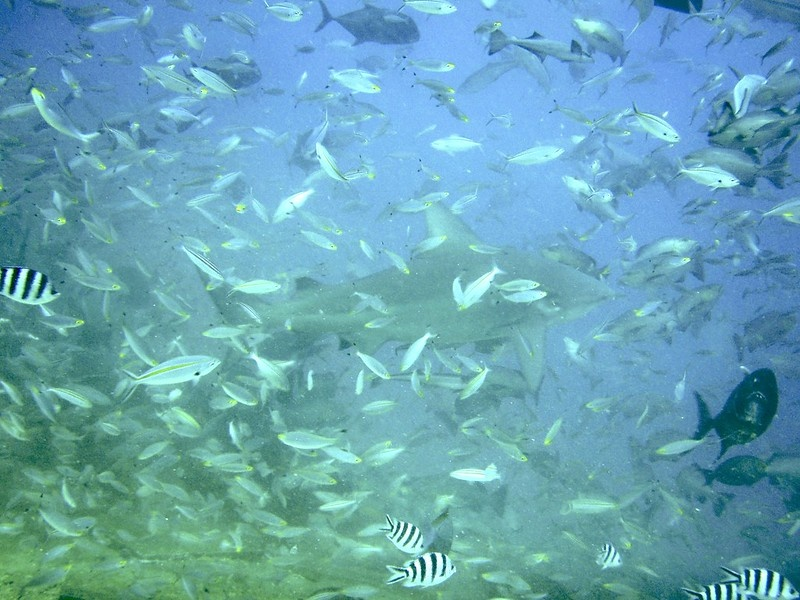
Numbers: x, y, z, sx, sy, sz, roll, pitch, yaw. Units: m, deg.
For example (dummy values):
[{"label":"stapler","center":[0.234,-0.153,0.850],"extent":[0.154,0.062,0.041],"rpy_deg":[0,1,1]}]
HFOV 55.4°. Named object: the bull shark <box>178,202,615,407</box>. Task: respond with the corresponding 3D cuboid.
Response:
[{"label":"bull shark","center":[-1.243,0.002,12.298],"extent":[9.388,2.167,1.969],"rpy_deg":[-3,98,-4]}]
